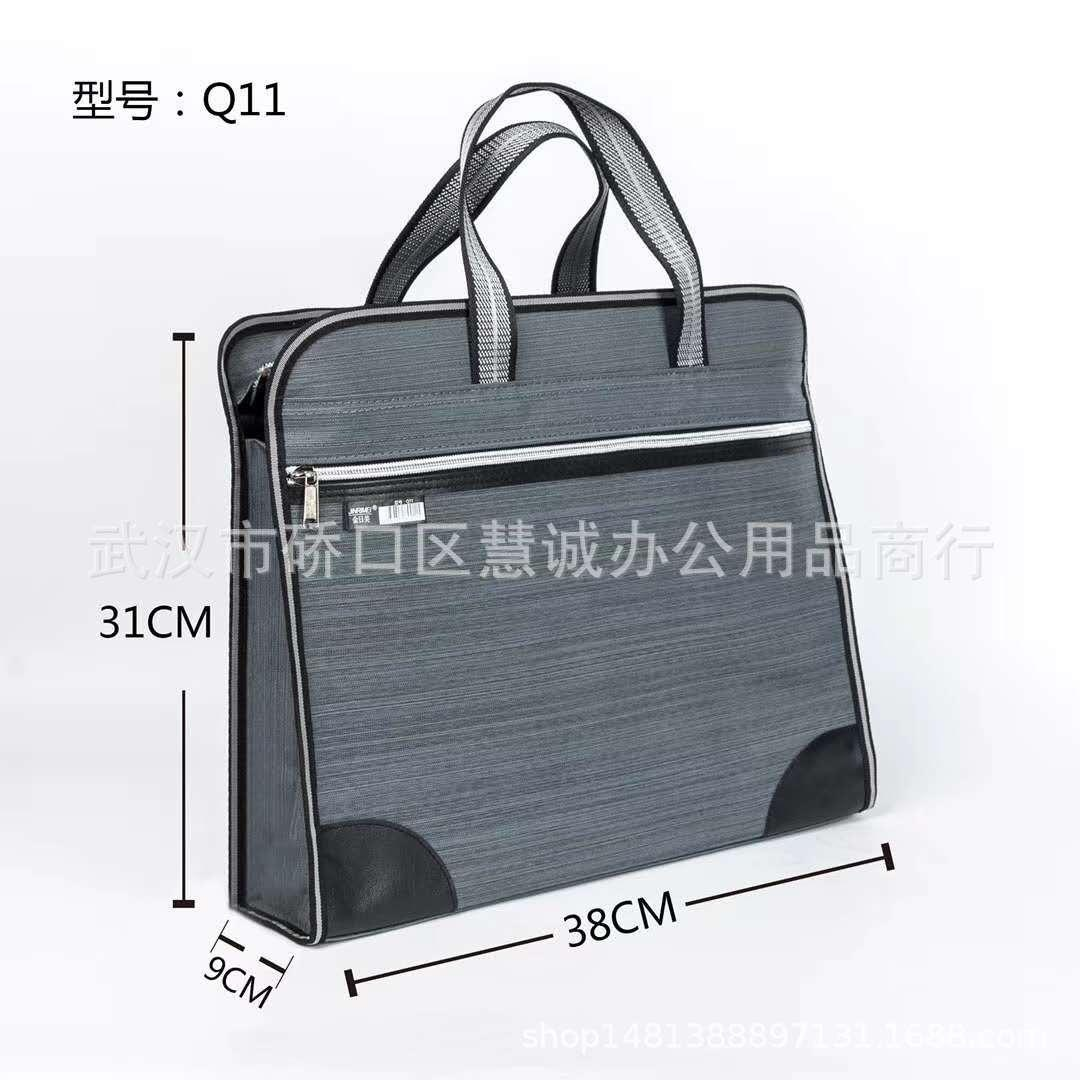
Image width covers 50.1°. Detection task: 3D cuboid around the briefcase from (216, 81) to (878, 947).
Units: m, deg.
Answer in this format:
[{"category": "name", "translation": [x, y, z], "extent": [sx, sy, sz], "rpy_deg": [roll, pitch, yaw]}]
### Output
[{"category": "briefcase", "translation": [-0.026, 0.042, 1.156], "extent": [0.839, 0.890, 0.271], "rpy_deg": [-6, 8, -33]}]
